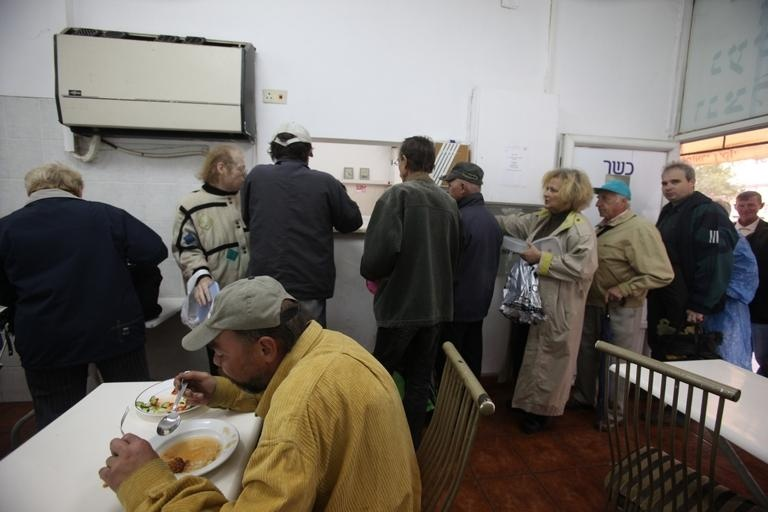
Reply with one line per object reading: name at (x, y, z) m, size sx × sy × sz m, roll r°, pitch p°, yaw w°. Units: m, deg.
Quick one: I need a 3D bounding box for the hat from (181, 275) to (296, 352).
hat at (-0.751, 0.297, 2.751) m, size 0.522 × 0.265 × 0.326 m, roll -3°, pitch 7°, yaw -4°

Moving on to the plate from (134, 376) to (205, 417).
plate at (-1.268, 0.778, 2.983) m, size 0.247 × 0.052 × 0.245 m, roll -5°, pitch 22°, yaw -31°

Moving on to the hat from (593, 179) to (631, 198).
hat at (1.888, -0.543, 4.251) m, size 0.260 × 0.140 × 0.189 m, roll 7°, pitch 3°, yaw 8°

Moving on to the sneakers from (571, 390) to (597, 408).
sneakers at (1.707, 1.234, 4.431) m, size 0.155 × 0.063 × 0.157 m, roll 1°, pitch 8°, yaw -13°

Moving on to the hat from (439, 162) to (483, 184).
hat at (0.638, -0.665, 4.078) m, size 0.237 × 0.122 × 0.171 m, roll 10°, pitch 13°, yaw 23°
